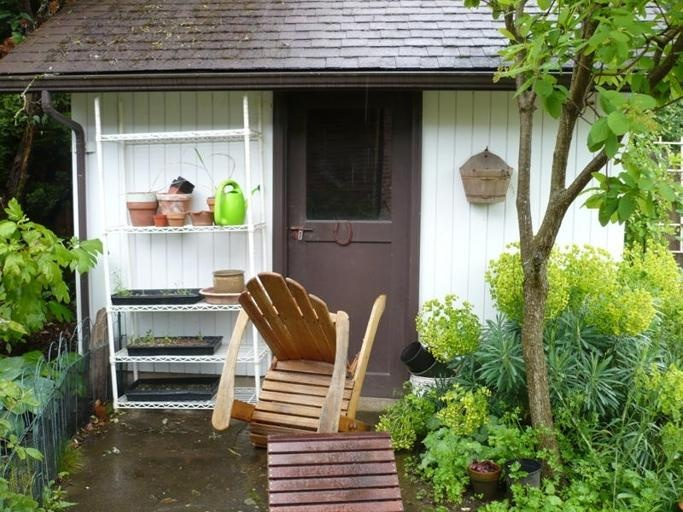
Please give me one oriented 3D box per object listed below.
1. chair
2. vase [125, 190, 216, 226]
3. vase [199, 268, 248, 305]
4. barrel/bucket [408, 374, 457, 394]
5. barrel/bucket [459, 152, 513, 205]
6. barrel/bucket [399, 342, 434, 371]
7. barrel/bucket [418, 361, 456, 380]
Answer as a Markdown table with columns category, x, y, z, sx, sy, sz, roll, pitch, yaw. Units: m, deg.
| category | x | y | z | sx | sy | sz | roll | pitch | yaw |
| --- | --- | --- | --- | --- | --- | --- | --- | --- | --- |
| chair | -0.314 | 0.816 | 4.795 | 1.068 | 1.465 | 0.784 | 3 | 5 | 14 |
| vase | -1.605 | -0.419 | 5.924 | 0.564 | 0.263 | 0.384 | 1 | 4 | 7 |
| vase | -1.040 | 0.278 | 5.890 | 0.305 | 0.164 | 0.334 | 0 | 10 | -5 |
| barrel/bucket | 0.711 | 1.080 | 5.514 | 0.205 | 0.180 | 0.232 | 0 | -7 | 0 |
| barrel/bucket | 1.301 | -0.703 | 5.906 | 0.410 | 0.458 | 0.318 | 1 | 8 | 14 |
| barrel/bucket | 0.595 | 0.873 | 5.809 | 0.185 | 0.224 | 0.198 | 2 | 2 | 0 |
| barrel/bucket | 0.815 | 0.987 | 5.652 | 0.307 | 0.219 | 0.208 | 1 | -5 | -20 |
